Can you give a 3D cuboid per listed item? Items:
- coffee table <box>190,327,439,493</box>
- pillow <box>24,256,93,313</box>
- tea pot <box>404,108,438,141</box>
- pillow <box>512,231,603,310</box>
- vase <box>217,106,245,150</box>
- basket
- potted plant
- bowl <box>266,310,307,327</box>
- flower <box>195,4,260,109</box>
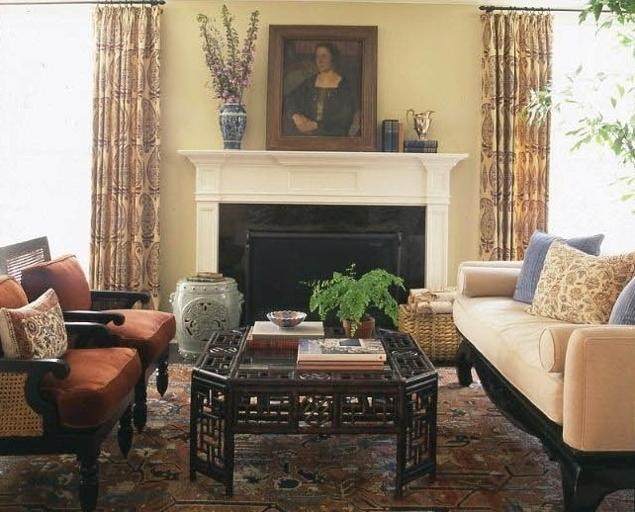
[{"bbox_3d":[-0.027,0.668,2.814,0.878,0.349,0.821,0,5,-1],"label":"coffee table"},{"bbox_3d":[-1.546,0.163,3.391,0.566,0.343,0.189,0,12,21],"label":"pillow"},{"bbox_3d":[0.814,-1.051,4.735,0.234,0.238,0.218,1,14,0],"label":"tea pot"},{"bbox_3d":[1.429,0.075,3.553,0.290,0.455,0.572,-1,4,-15],"label":"pillow"},{"bbox_3d":[-0.655,-1.010,4.618,0.208,0.354,0.128,-2,15,-9],"label":"vase"},{"bbox_3d":[0.844,0.519,4.522,0.467,0.374,0.563,0,-1,2],"label":"basket"},{"bbox_3d":[0.196,0.240,3.078,0.451,0.342,0.283,2,14,5],"label":"potted plant"},{"bbox_3d":[-0.165,0.327,3.156,0.184,0.075,0.216,0,13,-5],"label":"bowl"},{"bbox_3d":[-0.692,-1.586,4.668,0.496,0.761,0.372,-1,15,-9],"label":"flower"}]
